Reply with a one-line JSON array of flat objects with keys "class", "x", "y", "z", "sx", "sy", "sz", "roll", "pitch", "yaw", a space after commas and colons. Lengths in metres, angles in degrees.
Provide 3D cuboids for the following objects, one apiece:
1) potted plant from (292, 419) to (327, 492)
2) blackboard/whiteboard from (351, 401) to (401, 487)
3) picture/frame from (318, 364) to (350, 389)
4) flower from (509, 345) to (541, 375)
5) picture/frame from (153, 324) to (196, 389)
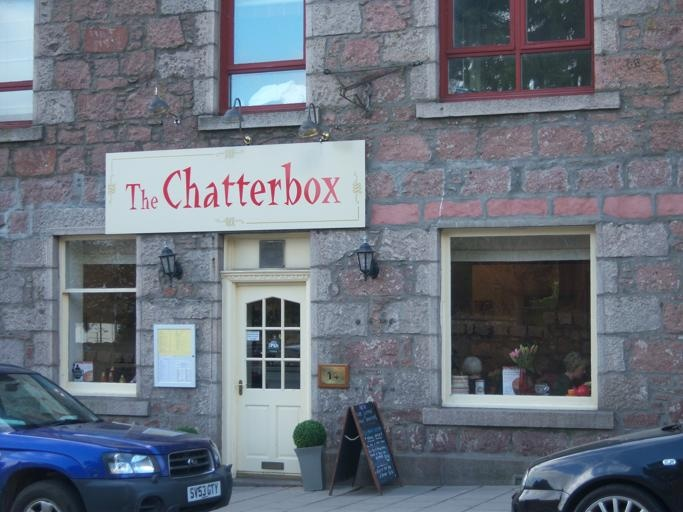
[{"class": "potted plant", "x": -0.376, "y": 2.639, "z": 19.588, "sx": 0.469, "sy": 0.955, "sz": 0.361, "roll": -1, "pitch": -9, "yaw": -10}, {"class": "blackboard/whiteboard", "x": 0.379, "y": 2.493, "z": 19.389, "sx": 0.453, "sy": 1.138, "sz": 0.668, "roll": -11, "pitch": -3, "yaw": 28}, {"class": "picture/frame", "x": -0.062, "y": 1.616, "z": 19.899, "sx": 0.358, "sy": 0.258, "sz": 0.047, "roll": 0, "pitch": -6, "yaw": 17}, {"class": "flower", "x": 2.495, "y": 1.394, "z": 19.834, "sx": 0.392, "sy": 0.355, "sz": 0.368, "roll": -6, "pitch": -13, "yaw": 32}, {"class": "picture/frame", "x": -2.264, "y": 1.356, "z": 20.367, "sx": 0.677, "sy": 0.847, "sz": 0.064, "roll": -1, "pitch": -4, "yaw": 26}]
